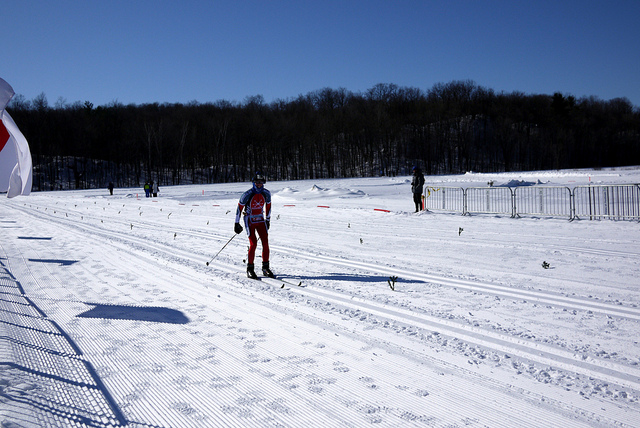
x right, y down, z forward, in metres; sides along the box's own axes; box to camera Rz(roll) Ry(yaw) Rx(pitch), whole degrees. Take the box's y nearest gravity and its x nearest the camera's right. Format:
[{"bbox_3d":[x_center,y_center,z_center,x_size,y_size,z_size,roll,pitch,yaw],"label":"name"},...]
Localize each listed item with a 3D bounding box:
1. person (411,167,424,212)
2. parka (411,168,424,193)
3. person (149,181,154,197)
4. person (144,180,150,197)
[{"bbox_3d":[4.345,-1.119,22.727,0.450,2.128,1.056,2,14,11],"label":"person"},{"bbox_3d":[4.331,-1.531,22.622,0.429,1.206,0.855,1,15,8],"label":"parka"},{"bbox_3d":[-14.234,-2.021,43.067,0.264,1.119,0.926,-6,15,-18],"label":"person"},{"bbox_3d":[-14.465,-2.026,42.862,0.319,1.041,0.564,-7,15,-22],"label":"person"}]
